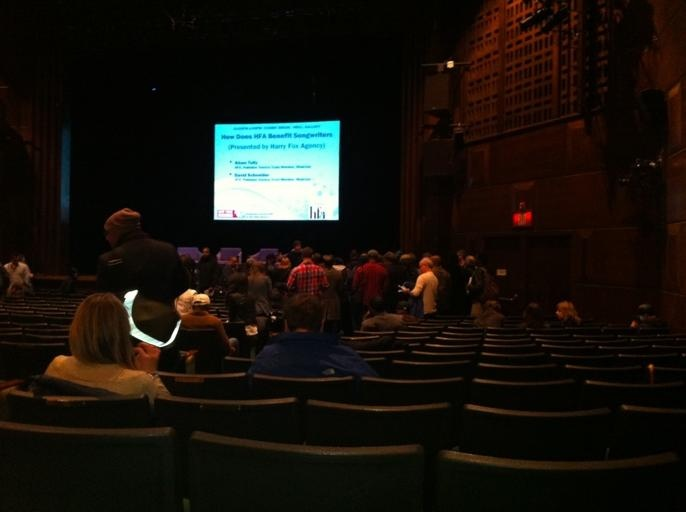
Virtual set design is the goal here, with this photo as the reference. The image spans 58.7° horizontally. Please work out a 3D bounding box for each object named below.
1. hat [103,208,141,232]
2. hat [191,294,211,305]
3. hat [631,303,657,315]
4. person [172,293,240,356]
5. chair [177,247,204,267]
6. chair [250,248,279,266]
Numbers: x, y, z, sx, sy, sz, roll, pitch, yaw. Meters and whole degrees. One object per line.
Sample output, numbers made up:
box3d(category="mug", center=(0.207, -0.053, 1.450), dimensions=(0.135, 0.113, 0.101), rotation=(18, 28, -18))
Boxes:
box3d(category="hat", center=(-1.669, -0.271, 4.625), dimensions=(0.251, 0.191, 0.191), rotation=(-1, 6, 20))
box3d(category="hat", center=(-1.430, 0.440, 6.198), dimensions=(0.155, 0.141, 0.126), rotation=(1, 3, -20))
box3d(category="hat", center=(4.368, 0.764, 8.830), dimensions=(0.231, 0.184, 0.235), rotation=(-2, -2, 35))
box3d(category="person", center=(-1.381, 0.704, 6.158), dimensions=(0.553, 0.851, 0.485), rotation=(-13, -21, -3))
box3d(category="chair", center=(-3.249, 0.015, 13.054), dimensions=(0.378, 0.267, 0.269), rotation=(3, -8, -27))
box3d(category="chair", center=(-1.974, -0.038, 15.589), dimensions=(0.723, 0.643, 0.546), rotation=(0, -1, 38))
